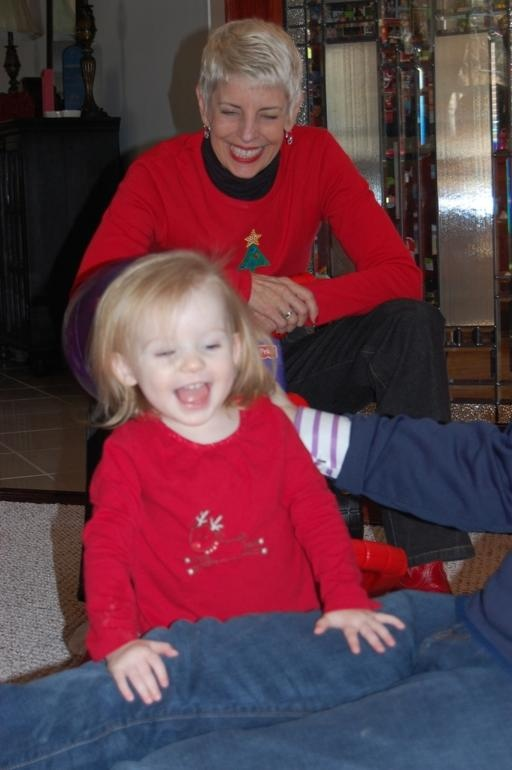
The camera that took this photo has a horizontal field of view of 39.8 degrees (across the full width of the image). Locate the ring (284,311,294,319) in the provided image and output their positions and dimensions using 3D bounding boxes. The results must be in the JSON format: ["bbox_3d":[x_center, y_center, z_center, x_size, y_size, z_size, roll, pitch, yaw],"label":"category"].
[{"bbox_3d":[0.055,-0.119,1.200,0.010,0.005,0.015,-15,12,17],"label":"ring"}]
